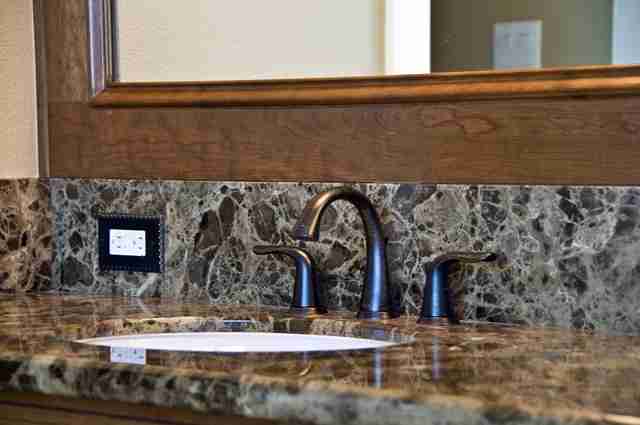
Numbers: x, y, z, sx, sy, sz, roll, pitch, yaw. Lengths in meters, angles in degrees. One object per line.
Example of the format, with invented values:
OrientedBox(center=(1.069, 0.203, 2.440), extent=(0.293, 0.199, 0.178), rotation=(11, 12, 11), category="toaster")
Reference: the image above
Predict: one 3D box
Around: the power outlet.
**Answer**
OrientedBox(center=(-0.491, 0.079, 1.524), extent=(0.177, 0.118, 0.010), rotation=(1, 3, 17), category="power outlet")
